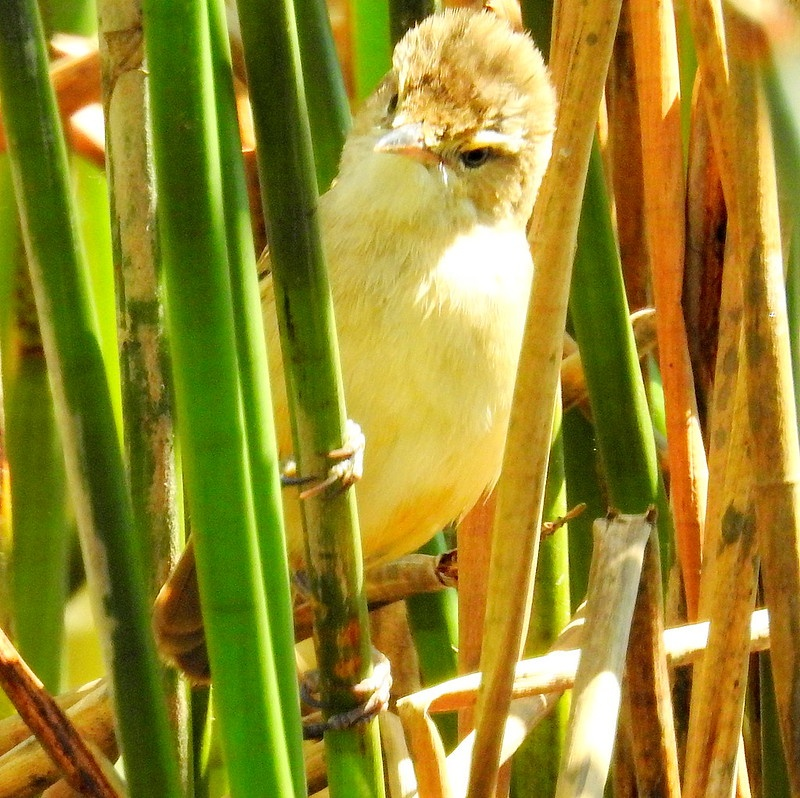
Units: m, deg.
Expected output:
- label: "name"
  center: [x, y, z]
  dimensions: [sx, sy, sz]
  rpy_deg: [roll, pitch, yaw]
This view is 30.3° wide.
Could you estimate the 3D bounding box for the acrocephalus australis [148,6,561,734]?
- label: "acrocephalus australis"
  center: [0.052, -0.151, 1.981]
  dimensions: [0.311, 0.553, 0.473]
  rpy_deg: [0, -29, 8]
